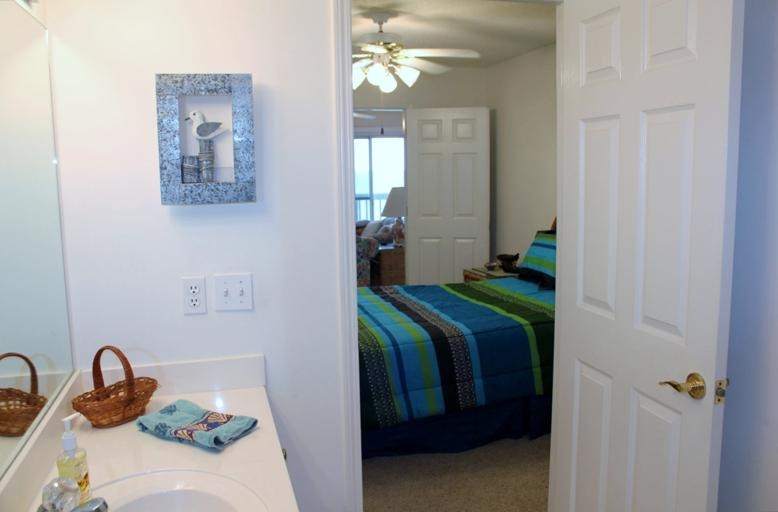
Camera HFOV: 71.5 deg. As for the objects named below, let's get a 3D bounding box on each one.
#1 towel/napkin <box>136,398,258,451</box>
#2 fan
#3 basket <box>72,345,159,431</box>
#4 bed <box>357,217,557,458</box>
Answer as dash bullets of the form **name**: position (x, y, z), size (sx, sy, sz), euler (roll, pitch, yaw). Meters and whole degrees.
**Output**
- **towel/napkin**: position (-0.664, 0.585, 1.872), size (0.391, 0.097, 0.172), euler (0, 9, 18)
- **fan**: position (0.120, -1.676, 4.405), size (0.823, 0.512, 0.788), euler (-3, 8, -2)
- **basket**: position (-0.989, 0.482, 1.932), size (0.151, 0.229, 0.261), euler (0, 6, 30)
- **bed**: position (0.450, 0.536, 3.775), size (1.592, 1.056, 1.080), euler (-4, 16, -15)
